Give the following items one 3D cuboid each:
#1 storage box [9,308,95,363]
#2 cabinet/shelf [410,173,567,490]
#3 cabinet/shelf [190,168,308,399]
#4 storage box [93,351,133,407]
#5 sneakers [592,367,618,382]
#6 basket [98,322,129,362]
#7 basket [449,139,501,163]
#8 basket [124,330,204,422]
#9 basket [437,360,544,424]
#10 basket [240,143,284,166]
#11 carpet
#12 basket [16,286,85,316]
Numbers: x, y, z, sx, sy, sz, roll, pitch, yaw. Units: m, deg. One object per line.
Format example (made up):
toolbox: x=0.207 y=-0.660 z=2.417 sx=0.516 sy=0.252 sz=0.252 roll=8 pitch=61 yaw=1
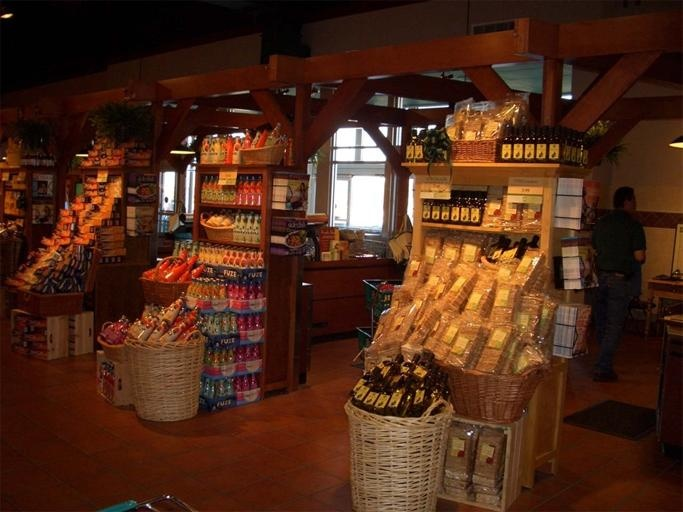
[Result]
storage box: x=-3.842 y=0.959 z=6.885 sx=0.764 sy=0.456 sz=0.777 roll=3 pitch=2 yaw=44
cabinet/shelf: x=1.088 y=0.743 z=4.432 sx=1.532 sy=2.959 sz=0.844 roll=-3 pitch=14 yaw=29
cabinet/shelf: x=-1.160 y=0.253 z=5.646 sx=1.268 sy=2.561 sz=1.083 roll=5 pitch=6 yaw=30
storage box: x=-2.387 y=1.316 z=5.492 sx=0.299 sy=0.363 sz=0.507 roll=3 pitch=2 yaw=-44
sneakers: x=3.444 y=1.527 z=6.648 sx=0.341 sy=0.151 sz=0.274 roll=3 pitch=5 yaw=12
basket: x=-2.384 y=0.872 z=5.368 sx=0.447 sy=0.304 sz=0.432 roll=2 pitch=0 yaw=-12
basket: x=1.055 y=-0.835 z=4.067 sx=0.193 sy=0.120 sz=0.286 roll=-6 pitch=12 yaw=-35
basket: x=-1.796 y=1.179 z=5.107 sx=0.774 sy=0.803 sz=0.742 roll=-7 pitch=-13 yaw=2
basket: x=0.984 y=0.916 z=3.501 sx=0.513 sy=0.280 sz=0.515 roll=2 pitch=1 yaw=22
basket: x=-0.871 y=-1.097 z=5.612 sx=0.334 sy=0.138 sz=0.297 roll=3 pitch=6 yaw=17
carpet: x=2.781 y=1.709 z=5.339 sx=0.607 sy=0.039 sz=0.530 roll=-5 pitch=6 yaw=-43
basket: x=-3.888 y=0.619 z=6.709 sx=0.842 sy=0.312 sz=0.332 roll=2 pitch=5 yaw=-4
